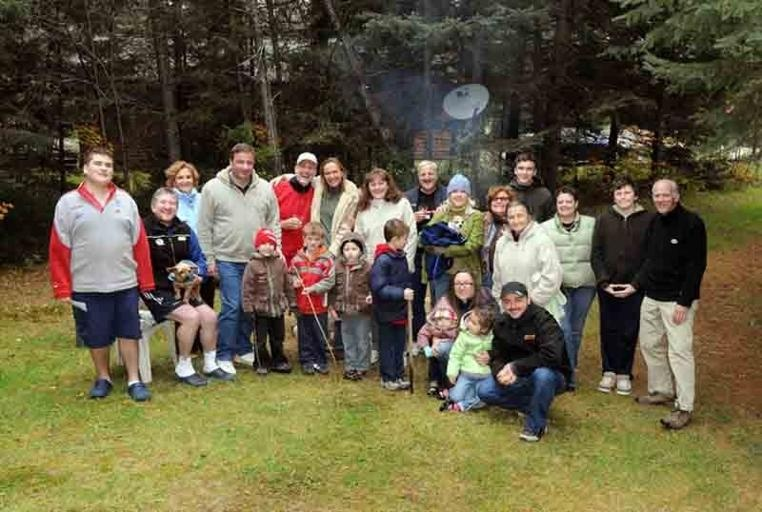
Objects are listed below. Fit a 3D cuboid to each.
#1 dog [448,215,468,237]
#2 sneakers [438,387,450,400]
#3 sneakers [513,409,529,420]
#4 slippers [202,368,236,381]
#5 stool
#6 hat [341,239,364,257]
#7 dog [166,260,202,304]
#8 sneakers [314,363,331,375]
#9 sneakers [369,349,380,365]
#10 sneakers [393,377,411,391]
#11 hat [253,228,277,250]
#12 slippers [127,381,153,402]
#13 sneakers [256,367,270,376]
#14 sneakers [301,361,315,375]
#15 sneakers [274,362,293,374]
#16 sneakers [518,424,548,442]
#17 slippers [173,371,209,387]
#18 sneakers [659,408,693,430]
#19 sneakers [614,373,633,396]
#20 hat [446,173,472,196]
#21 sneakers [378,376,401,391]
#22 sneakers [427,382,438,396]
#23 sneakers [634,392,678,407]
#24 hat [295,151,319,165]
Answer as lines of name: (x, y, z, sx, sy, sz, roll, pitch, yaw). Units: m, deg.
dog: (1.048, -0.429, 10.276, 0.198, 0.191, 0.304, 2, 1, -3)
sneakers: (0.820, 1.785, 9.806, 0.084, 0.065, 0.181, -11, -33, -13)
sneakers: (1.758, 1.991, 9.504, 0.095, 0.042, 0.118, -10, 19, -26)
slippers: (-2.179, 1.591, 10.144, 0.385, 0.129, 0.147, 0, -2, 13)
stool: (-3.098, 1.120, 10.328, 1.072, 0.918, 0.998, -2, 4, -6)
hat: (-0.380, -0.122, 10.217, 0.222, 0.208, 0.281, -4, 1, 5)
dog: (-2.598, 0.311, 9.959, 0.412, 0.518, 0.757, 3, -1, -4)
sneakers: (-0.809, 1.570, 10.479, 0.224, 0.092, 0.105, 12, -8, 3)
sneakers: (-0.107, 1.452, 10.911, 0.166, 0.190, 0.072, 1, 10, -7)
sneakers: (0.274, 1.707, 10.069, 0.204, 0.091, 0.113, -3, 1, 32)
hat: (-1.567, -0.234, 10.186, 0.235, 0.240, 0.290, -3, -18, -27)
slippers: (-3.049, 1.700, 9.468, 0.197, 0.209, 0.263, -9, 10, -41)
sneakers: (-1.625, 1.567, 10.295, 0.123, 0.044, 0.117, -4, 12, 1)
sneakers: (-1.009, 1.553, 10.444, 0.134, 0.157, 0.148, -13, 40, 9)
sneakers: (-1.367, 1.548, 10.425, 0.139, 0.082, 0.215, 1, -1, -26)
sneakers: (1.826, 2.159, 9.077, 0.360, 0.131, 0.129, 8, -13, -40)
slippers: (-2.499, 1.616, 9.937, 0.349, 0.099, 0.179, -1, 1, 18)
sneakers: (3.666, 1.992, 9.303, 0.469, 0.209, 0.199, -7, 9, -36)
sneakers: (3.220, 1.726, 9.997, 0.131, 0.152, 0.358, 0, 6, 25)
hat: (1.071, -0.999, 10.404, 0.300, 0.280, 0.321, 4, 3, 0)
sneakers: (0.123, 1.705, 10.062, 0.282, 0.126, 0.124, -6, -5, 38)
sneakers: (0.688, 1.746, 9.936, 0.129, 0.074, 0.183, 3, 16, 3)
sneakers: (3.566, 1.861, 9.770, 0.508, 0.192, 0.177, 1, -14, 4)
hat: (-1.062, -1.414, 10.870, 0.375, 0.178, 0.509, 4, 1, -5)
